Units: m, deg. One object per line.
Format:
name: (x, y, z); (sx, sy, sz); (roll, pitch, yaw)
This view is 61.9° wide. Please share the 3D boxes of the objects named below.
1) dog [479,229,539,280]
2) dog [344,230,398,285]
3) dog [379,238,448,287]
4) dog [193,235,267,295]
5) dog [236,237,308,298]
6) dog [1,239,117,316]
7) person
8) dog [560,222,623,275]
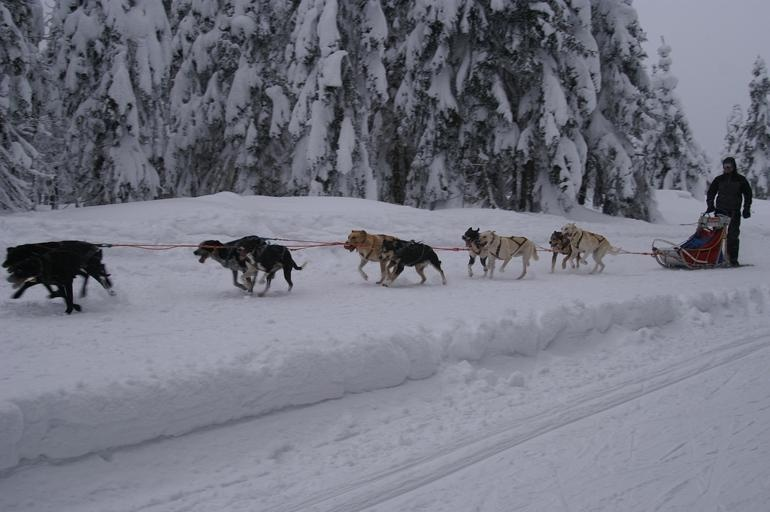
dog: (2.817, -0.015, 14.749); (1.548, 1.001, 0.512); (0, 0, -20)
dog: (-0.110, 0.025, 14.194); (0.498, 1.053, 2.185); (5, -3, 44)
dog: (0.591, 0.163, 13.978); (1.688, 1.012, 0.535); (4, 0, -37)
dog: (-2.880, 0.065, 13.448); (2.213, 1.041, 0.450); (-10, 9, -37)
dog: (-2.374, 0.242, 13.224); (0.493, 0.958, 1.729); (-3, -12, 39)
dog: (-5.906, 0.372, 11.536); (1.675, 1.275, 0.728); (-1, 4, -31)
person: (8.377, -1.095, 15.615); (0.929, 2.696, 1.344); (3, 4, 30)
dog: (4.918, -0.186, 15.326); (1.236, 1.152, 0.716); (-1, 4, -33)
